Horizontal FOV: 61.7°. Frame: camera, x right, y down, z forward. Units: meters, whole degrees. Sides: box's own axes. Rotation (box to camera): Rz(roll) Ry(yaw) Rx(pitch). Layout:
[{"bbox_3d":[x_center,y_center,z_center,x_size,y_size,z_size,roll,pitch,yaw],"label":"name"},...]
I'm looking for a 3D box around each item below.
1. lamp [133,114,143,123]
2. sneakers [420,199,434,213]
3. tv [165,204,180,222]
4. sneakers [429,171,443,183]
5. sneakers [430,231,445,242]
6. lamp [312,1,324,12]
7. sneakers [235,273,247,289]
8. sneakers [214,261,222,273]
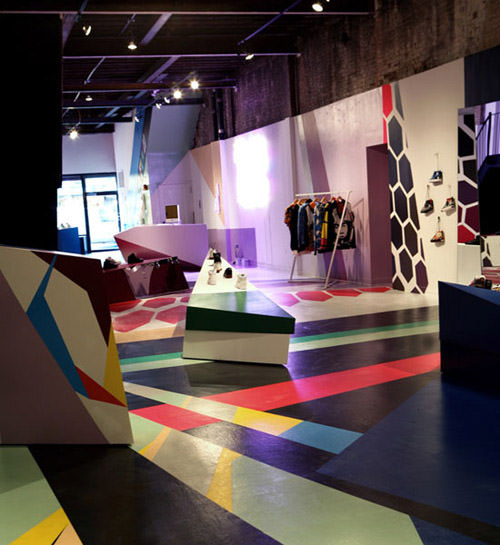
[{"bbox_3d":[-3.594,-4.933,13.455,0.201,0.134,0.314,5,-16,5],"label":"lamp"},{"bbox_3d":[2.599,-0.968,6.152,0.074,0.222,0.227,-3,1,-17],"label":"sneakers"},{"bbox_3d":[-2.253,-1.713,12.100,0.354,0.457,0.366,-3,1,-15],"label":"tv"},{"bbox_3d":[2.641,-1.353,5.953,0.079,0.202,0.200,-3,1,-17],"label":"sneakers"},{"bbox_3d":[2.684,-0.515,6.011,0.088,0.181,0.243,-3,1,-10],"label":"sneakers"},{"bbox_3d":[0.998,-3.863,6.120,0.136,0.146,0.155,-3,-40,6],"label":"lamp"},{"bbox_3d":[-0.085,0.088,4.430,0.103,0.162,0.144,-1,5,-25],"label":"sneakers"},{"bbox_3d":[-0.393,-0.070,5.208,0.076,0.127,0.110,-3,-5,-18],"label":"sneakers"}]
